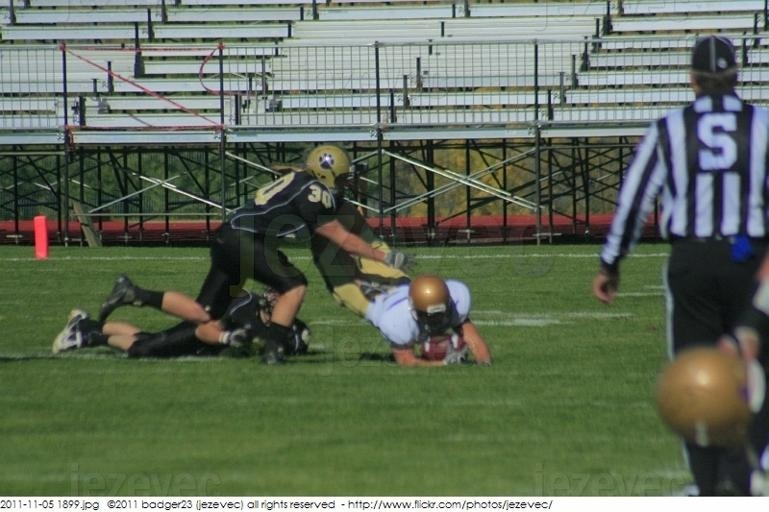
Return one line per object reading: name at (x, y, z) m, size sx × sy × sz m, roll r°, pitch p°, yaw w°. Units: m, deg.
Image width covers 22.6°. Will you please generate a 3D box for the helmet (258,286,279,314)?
helmet at (-2.214, 0.826, 35.892) m, size 0.347 × 0.433 × 0.204 m, roll 22°, pitch 8°, yaw 26°
